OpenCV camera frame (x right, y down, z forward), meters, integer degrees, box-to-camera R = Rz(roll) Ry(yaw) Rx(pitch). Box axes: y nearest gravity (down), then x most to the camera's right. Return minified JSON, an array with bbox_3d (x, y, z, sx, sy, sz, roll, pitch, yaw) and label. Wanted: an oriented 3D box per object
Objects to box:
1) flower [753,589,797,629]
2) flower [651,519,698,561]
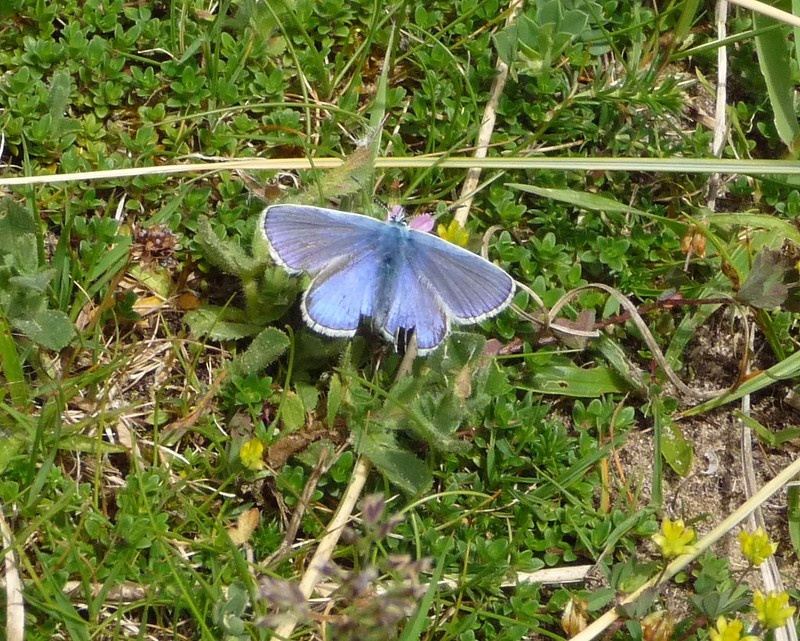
[{"bbox_3d":[1.227,0.961,2.820,0.105,0.145,0.119,-9,56,-7],"label":"flower"},{"bbox_3d":[0.945,0.767,2.938,0.117,0.118,0.138,38,85,5],"label":"flower"}]
